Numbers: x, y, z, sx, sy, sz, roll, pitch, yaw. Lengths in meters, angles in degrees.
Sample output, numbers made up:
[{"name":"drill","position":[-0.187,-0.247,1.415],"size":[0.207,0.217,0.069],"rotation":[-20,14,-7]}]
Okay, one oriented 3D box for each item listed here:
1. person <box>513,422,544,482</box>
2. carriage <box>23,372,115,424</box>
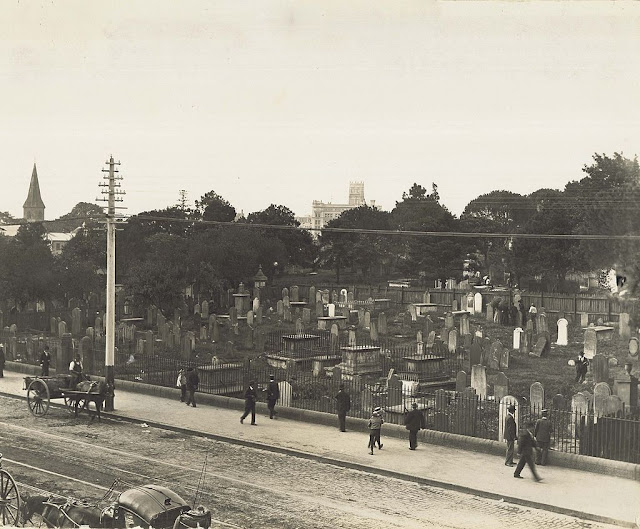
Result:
[{"name":"person","position":[6.688,6.010,41.164],"size":[0.760,1.804,0.826],"rotation":[-5,-1,-38]},{"name":"carriage","position":[-9.575,4.863,47.833],"size":[3.048,1.579,1.378],"rotation":[2,13,5]}]
